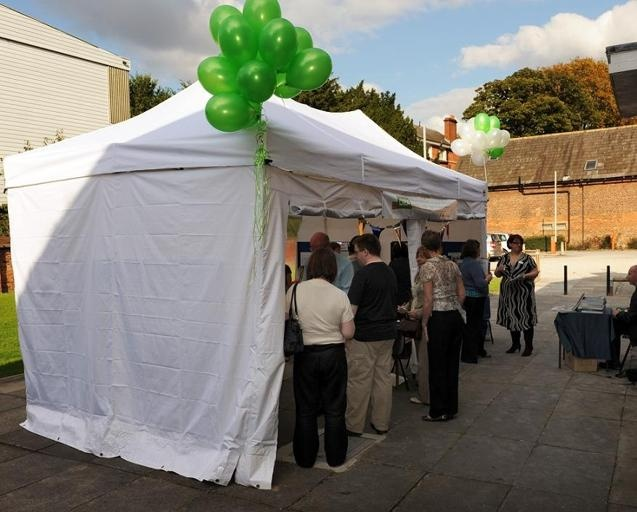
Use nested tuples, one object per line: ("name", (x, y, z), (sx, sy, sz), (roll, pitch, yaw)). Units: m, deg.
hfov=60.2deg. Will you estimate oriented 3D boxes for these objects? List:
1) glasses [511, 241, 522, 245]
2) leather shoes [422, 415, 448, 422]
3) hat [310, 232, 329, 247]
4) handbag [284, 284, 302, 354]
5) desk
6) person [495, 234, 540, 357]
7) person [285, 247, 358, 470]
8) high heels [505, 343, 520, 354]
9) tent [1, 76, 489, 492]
("glasses", (3.137, -0.207, 8.664), (0.223, 0.057, 0.092), (-4, 4, -34))
("leather shoes", (1.299, 1.815, 6.141), (0.240, 0.074, 0.095), (5, 4, 28))
("hat", (0.022, -0.190, 6.815), (0.163, 0.205, 0.193), (4, 22, -40))
("handbag", (-0.233, 0.604, 5.096), (0.176, 0.678, 0.326), (-2, 3, -3))
("desk", (3.696, 1.116, 7.645), (0.698, 0.652, 0.724), (1, 4, 32))
("person", (3.146, 0.625, 8.764), (0.625, 1.946, 0.468), (0, 4, 19))
("person", (0.004, 0.957, 5.371), (0.629, 2.151, 0.642), (1, 13, 3))
("high heels", (3.214, 1.540, 9.178), (0.300, 0.227, 0.123), (3, -1, -19))
("tent", (-1.247, 0.112, 6.841), (3.592, 3.690, 4.859), (3, 6, 32))
